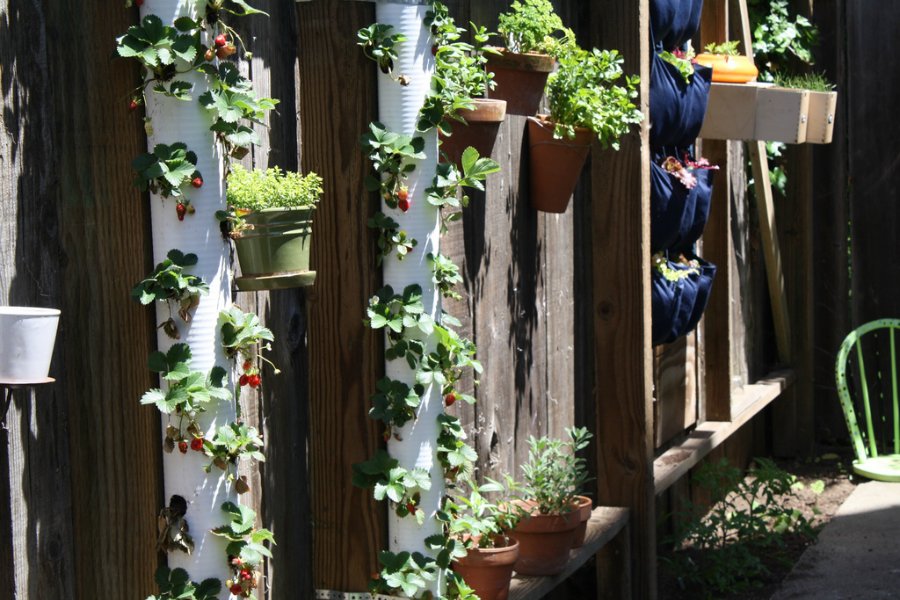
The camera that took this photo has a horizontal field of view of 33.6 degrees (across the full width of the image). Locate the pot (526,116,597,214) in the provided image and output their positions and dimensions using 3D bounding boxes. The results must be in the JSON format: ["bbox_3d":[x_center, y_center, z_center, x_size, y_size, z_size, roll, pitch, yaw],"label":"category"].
[{"bbox_3d":[0.355,-0.435,4.837,0.122,0.313,0.237,-8,11,-32],"label":"pot"}]

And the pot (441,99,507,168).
[{"bbox_3d":[0.080,-0.491,4.414,0.177,0.147,0.184,1,6,0],"label":"pot"}]

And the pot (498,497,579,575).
[{"bbox_3d":[0.295,0.738,4.627,0.200,0.169,0.210,0,1,0],"label":"pot"}]

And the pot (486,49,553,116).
[{"bbox_3d":[0.212,-0.690,4.685,0.236,0.192,0.248,6,15,-2],"label":"pot"}]

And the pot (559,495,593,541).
[{"bbox_3d":[0.427,0.701,4.784,0.114,0.125,0.113,1,8,0],"label":"pot"}]
